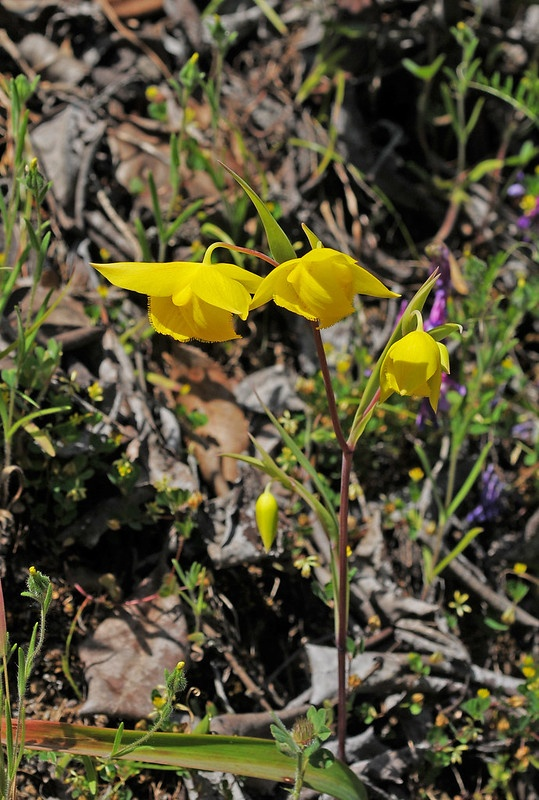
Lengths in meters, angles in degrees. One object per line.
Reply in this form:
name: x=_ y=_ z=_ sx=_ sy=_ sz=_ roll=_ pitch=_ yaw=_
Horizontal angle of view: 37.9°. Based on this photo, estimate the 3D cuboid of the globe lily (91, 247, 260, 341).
globe lily: x=-0.113 y=-0.181 z=1.278 sx=0.222 sy=0.128 sz=0.214 roll=11 pitch=5 yaw=6

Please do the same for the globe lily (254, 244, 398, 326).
globe lily: x=0.082 y=-0.183 z=1.253 sx=0.298 sy=0.121 sz=0.259 roll=-4 pitch=15 yaw=-16
